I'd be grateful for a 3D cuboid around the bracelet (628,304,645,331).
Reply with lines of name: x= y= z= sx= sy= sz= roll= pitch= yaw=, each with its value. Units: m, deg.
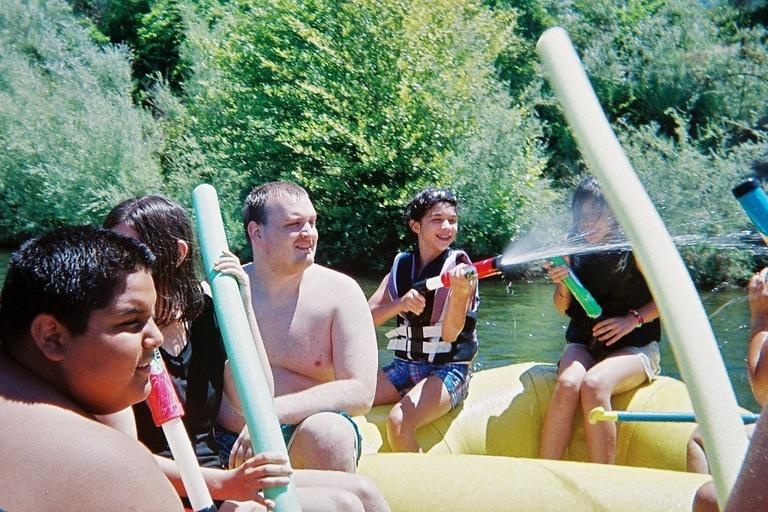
bracelet: x=1.550 y=0.376 z=3.749 sx=0.076 sy=0.118 sz=0.116 roll=-25 pitch=-39 yaw=-3
